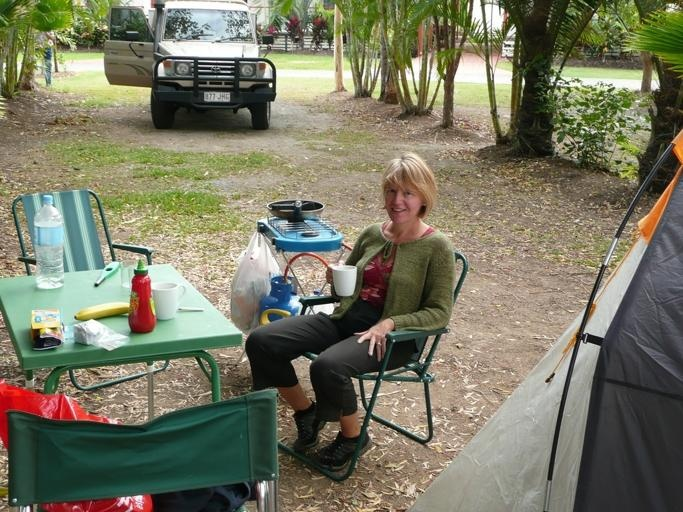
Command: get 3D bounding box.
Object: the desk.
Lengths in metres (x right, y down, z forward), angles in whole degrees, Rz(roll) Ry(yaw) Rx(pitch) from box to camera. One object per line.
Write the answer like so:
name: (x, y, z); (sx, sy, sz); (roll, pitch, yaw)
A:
desk: (-1.121, 0.259, 2.908); (0.997, 0.470, 0.834); (-6, 32, -34)

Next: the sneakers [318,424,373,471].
sneakers: (0.001, 1.065, 3.341); (0.363, 0.153, 0.153); (-30, 52, 3)

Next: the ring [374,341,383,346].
ring: (0.195, 0.458, 3.181); (0.029, 0.016, 0.025); (2, -1, 4)

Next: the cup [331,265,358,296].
cup: (0.002, 0.136, 3.325); (0.105, 0.171, 0.111); (2, 19, -1)

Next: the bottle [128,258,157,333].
bottle: (-0.920, 0.180, 2.780); (0.128, 0.302, 0.242); (-4, 19, -17)
